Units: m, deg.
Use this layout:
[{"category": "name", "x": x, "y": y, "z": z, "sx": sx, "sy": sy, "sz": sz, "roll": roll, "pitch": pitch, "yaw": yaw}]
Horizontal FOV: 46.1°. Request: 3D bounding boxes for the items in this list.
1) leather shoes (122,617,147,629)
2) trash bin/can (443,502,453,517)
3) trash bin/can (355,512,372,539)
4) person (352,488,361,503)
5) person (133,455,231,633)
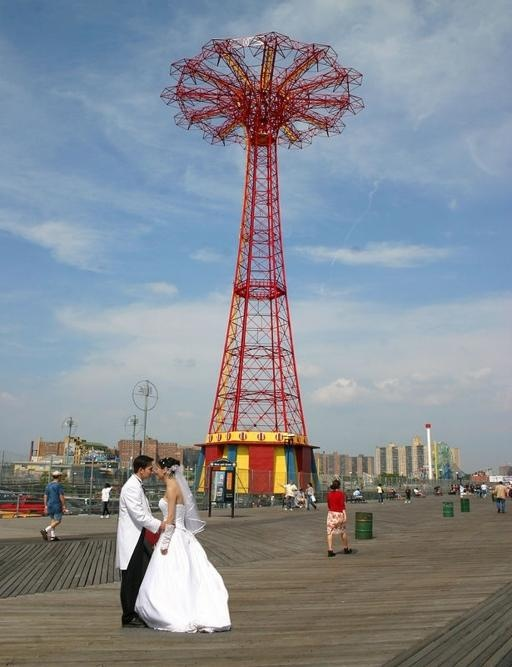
[{"category": "leather shoes", "x": -1.255, "y": 2.986, "z": 6.153, "sx": 0.277, "sy": 0.094, "sz": 0.081, "roll": 3, "pitch": -43, "yaw": 10}, {"category": "trash bin/can", "x": 8.324, "y": 7.704, "z": 25.990, "sx": 0.388, "sy": 0.584, "sz": 0.696, "roll": -3, "pitch": -11, "yaw": 12}, {"category": "trash bin/can", "x": 3.080, "y": 5.522, "z": 17.121, "sx": 0.476, "sy": 0.710, "sz": 0.782, "roll": -1, "pitch": -11, "yaw": 7}, {"category": "person", "x": 7.817, "y": 12.583, "z": 46.083, "sx": 0.801, "sy": 0.941, "sz": 1.853, "roll": -2, "pitch": -11, "yaw": 9}, {"category": "person", "x": -0.757, "y": 2.180, "z": 6.298, "sx": 0.933, "sy": 1.673, "sz": 0.565, "roll": 2, "pitch": -13, "yaw": -9}]
